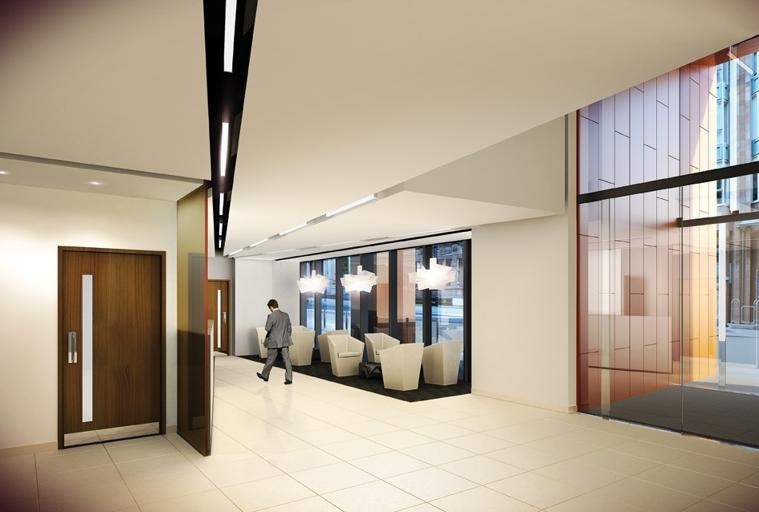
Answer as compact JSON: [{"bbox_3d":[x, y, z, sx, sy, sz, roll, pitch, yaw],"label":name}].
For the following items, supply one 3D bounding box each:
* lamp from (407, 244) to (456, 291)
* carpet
[{"bbox_3d":[1.170,0.387,11.262,0.867,0.353,0.887,7,-32,-8],"label":"lamp"},{"bbox_3d":[-0.217,3.112,12.694,2.381,0.338,6.189,1,-1,-39],"label":"carpet"}]
